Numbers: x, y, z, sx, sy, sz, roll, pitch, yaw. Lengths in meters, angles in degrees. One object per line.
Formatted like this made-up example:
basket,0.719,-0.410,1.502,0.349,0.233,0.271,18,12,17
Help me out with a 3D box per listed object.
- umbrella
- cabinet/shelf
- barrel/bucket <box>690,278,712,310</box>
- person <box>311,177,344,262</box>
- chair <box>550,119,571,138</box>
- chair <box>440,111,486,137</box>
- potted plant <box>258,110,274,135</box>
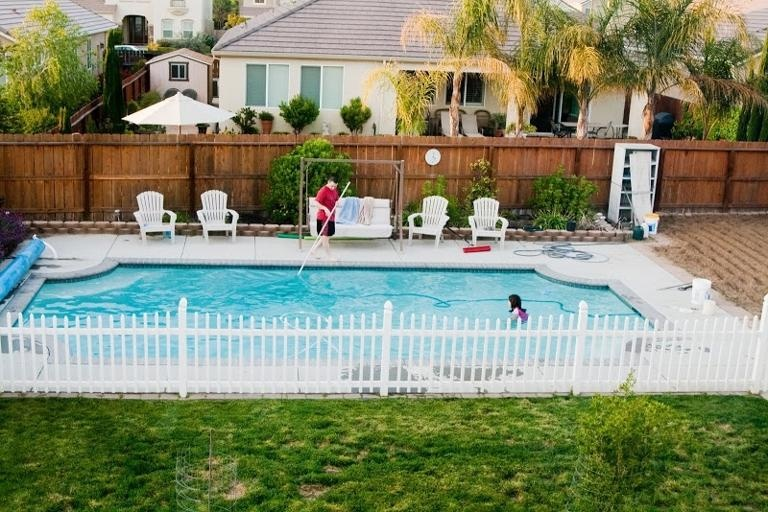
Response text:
umbrella,-5.943,-4.251,20.377,2.664,0.921,1.360,-4,11,-19
cabinet/shelf,8.026,-2.318,22.508,1.410,2.561,1.233,3,10,17
barrel/bucket,7.321,0.889,16.034,0.575,0.675,0.600,2,8,0
person,-1.625,-1.098,19.156,0.706,2.084,1.364,-1,10,-5
chair,8.195,-5.777,32.000,0.931,0.677,2.823,3,11,14
chair,3.414,-5.629,30.610,1.197,1.237,2.097,-2,12,-13
potted plant,-4.975,-5.634,29.502,0.665,0.876,0.591,-2,10,-10
